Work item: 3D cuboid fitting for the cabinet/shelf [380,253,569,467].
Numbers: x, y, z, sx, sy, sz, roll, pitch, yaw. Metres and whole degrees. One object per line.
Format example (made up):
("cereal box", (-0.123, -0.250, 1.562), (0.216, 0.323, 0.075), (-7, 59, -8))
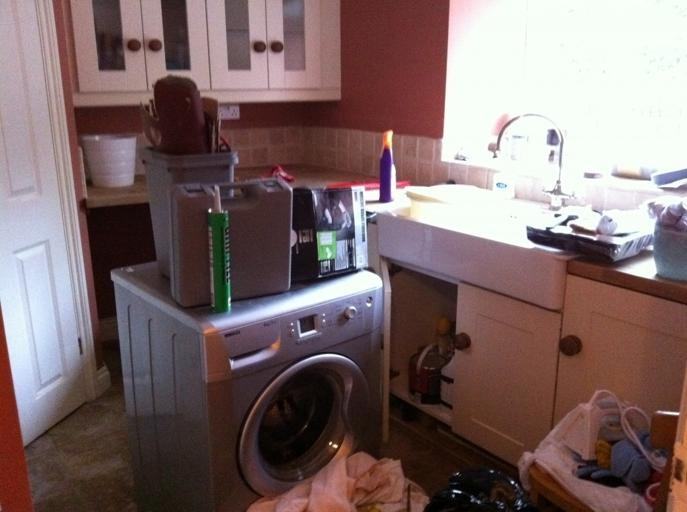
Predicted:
("cabinet/shelf", (0.569, 0.455, 2.356), (0.688, 0.667, 0.362), (18, 31, 35))

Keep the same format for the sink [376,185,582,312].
("sink", (0.602, -0.065, 2.427), (0.919, 0.332, 0.385), (16, 24, 42))

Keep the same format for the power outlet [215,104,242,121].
("power outlet", (-0.801, -0.985, 3.782), (0.109, 0.121, 0.209), (7, 19, 25))

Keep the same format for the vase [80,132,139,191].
("vase", (-1.353, -0.541, 3.156), (0.277, 0.269, 0.315), (-4, 10, -35))
